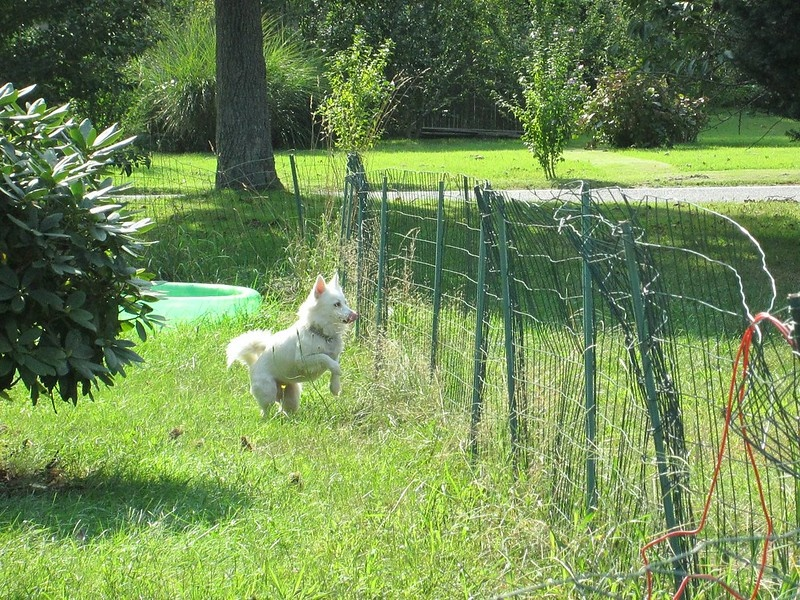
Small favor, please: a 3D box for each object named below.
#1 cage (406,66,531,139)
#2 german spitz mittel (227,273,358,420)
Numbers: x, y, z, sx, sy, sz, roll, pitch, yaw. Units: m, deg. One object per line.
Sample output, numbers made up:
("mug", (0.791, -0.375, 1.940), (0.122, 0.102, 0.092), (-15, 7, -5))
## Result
("cage", (2.743, -7.243, 39.288), (3.981, 1.880, 1.592), (-2, 18, -8))
("german spitz mittel", (-0.976, 0.498, 9.322), (1.332, 1.440, 0.545), (-9, -7, 26))
